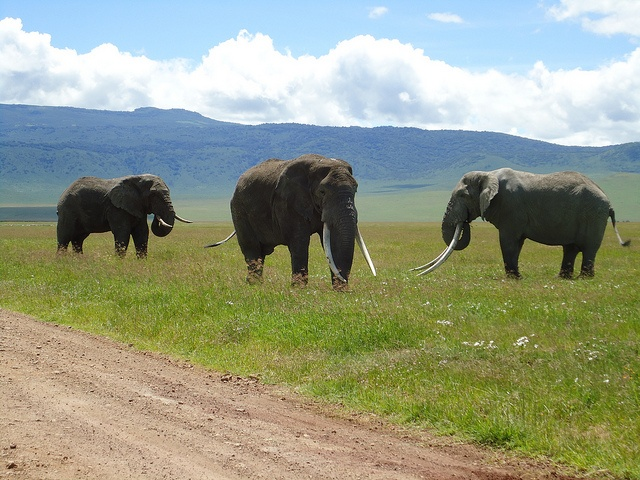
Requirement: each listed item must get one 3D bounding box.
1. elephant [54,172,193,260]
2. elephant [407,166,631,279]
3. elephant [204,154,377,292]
[{"bbox_3d":[-9.008,-0.912,29.020,5.364,3.801,2.639,-1,9,-4],"label":"elephant"},{"bbox_3d":[8.295,-0.568,25.519,8.860,4.977,3.666,2,-3,19],"label":"elephant"},{"bbox_3d":[-0.716,-0.455,19.660,1.574,4.048,5.286,-12,18,-40],"label":"elephant"}]
